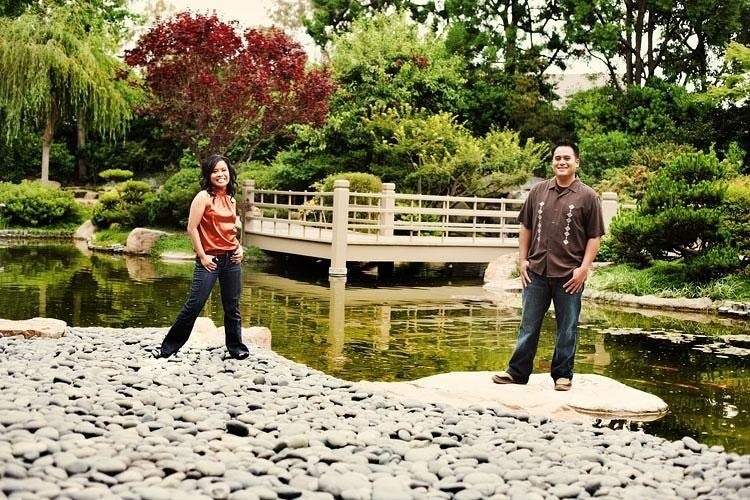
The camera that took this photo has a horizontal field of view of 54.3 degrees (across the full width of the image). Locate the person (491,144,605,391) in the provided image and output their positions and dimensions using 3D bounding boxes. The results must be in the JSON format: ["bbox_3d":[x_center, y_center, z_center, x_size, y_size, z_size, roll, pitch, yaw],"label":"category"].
[{"bbox_3d":[1.976,0.165,8.062,0.992,2.707,0.526,7,10,13],"label":"person"}]

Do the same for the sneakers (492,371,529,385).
[{"bbox_3d":[1.544,1.451,8.225,0.404,0.125,0.143,7,-9,-8],"label":"sneakers"}]

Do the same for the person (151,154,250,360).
[{"bbox_3d":[-1.869,0.069,8.188,0.981,2.257,0.606,2,10,-13],"label":"person"}]
